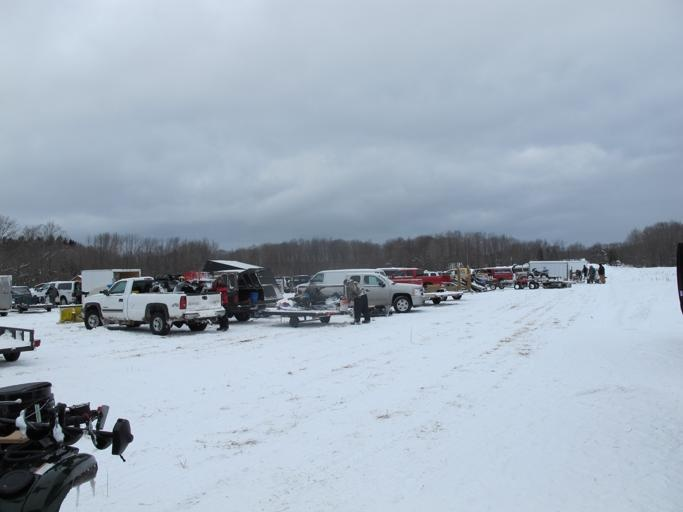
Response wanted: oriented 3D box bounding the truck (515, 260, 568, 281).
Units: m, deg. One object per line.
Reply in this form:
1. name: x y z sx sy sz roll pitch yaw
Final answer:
1. truck: 17.920 1.240 52.916 4.255 1.249 9.059 0 5 19

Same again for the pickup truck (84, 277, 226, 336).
1. pickup truck: -6.207 1.558 19.373 5.106 1.853 2.225 2 6 32

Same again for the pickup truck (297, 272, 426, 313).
1. pickup truck: 1.086 1.337 23.505 3.738 1.808 2.010 -2 -1 2

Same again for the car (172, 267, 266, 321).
1. car: -3.681 1.301 21.150 1.278 1.496 2.117 -1 6 -43

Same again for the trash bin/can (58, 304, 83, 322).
1. trash bin/can: -10.446 2.218 22.924 0.674 0.562 0.391 1 1 -39

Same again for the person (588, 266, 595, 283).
1. person: 23.311 1.829 55.204 0.644 1.366 3.198 1 6 23

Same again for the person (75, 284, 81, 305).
1. person: -12.859 1.881 28.909 0.153 0.771 0.520 -2 -4 -5
